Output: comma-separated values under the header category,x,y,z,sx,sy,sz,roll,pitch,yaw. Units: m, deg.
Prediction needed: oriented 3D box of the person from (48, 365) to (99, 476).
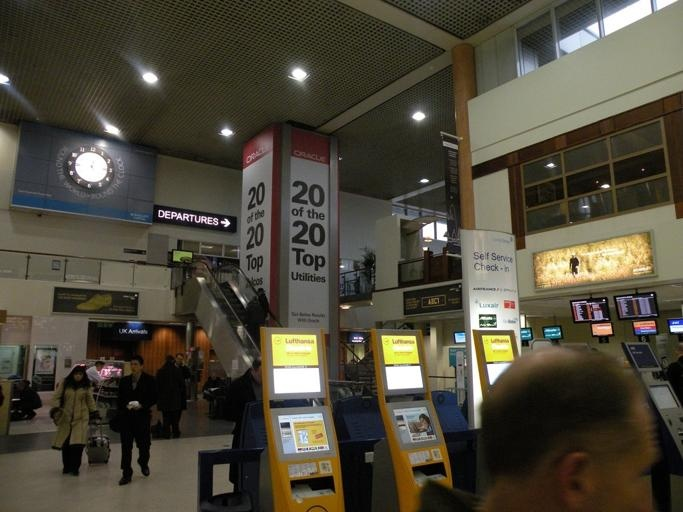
category,x,y,z,sx,sy,sz,roll,pitch,yaw
person,-3.756,2.256,6.890,0.545,1.446,0.494,2,-13,-14

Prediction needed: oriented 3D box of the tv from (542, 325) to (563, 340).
category,x,y,z,sx,sy,sz,roll,pitch,yaw
tv,5.485,1.969,12.785,0.435,0.439,1.300,-6,-13,21

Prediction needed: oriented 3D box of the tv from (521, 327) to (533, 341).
category,x,y,z,sx,sy,sz,roll,pitch,yaw
tv,4.824,1.983,12.794,0.257,0.390,1.726,-6,-13,18

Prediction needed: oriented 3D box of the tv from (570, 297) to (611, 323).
category,x,y,z,sx,sy,sz,roll,pitch,yaw
tv,4.881,1.051,9.682,0.663,0.493,0.357,-10,-15,33

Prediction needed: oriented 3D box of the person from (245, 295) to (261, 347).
category,x,y,z,sx,sy,sz,roll,pitch,yaw
person,-2.088,1.443,11.699,0.324,1.099,0.869,2,-13,-15

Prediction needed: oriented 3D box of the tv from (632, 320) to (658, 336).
category,x,y,z,sx,sy,sz,roll,pitch,yaw
tv,6.744,1.588,10.929,0.421,0.330,0.512,-8,-14,28

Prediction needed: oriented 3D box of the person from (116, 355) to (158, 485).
category,x,y,z,sx,sy,sz,roll,pitch,yaw
person,-2.804,2.148,6.686,0.479,1.578,0.814,4,-14,-24

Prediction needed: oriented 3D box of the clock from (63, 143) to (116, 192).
category,x,y,z,sx,sy,sz,roll,pitch,yaw
clock,-8.139,-2.777,15.720,1.237,1.494,0.184,19,-32,-25

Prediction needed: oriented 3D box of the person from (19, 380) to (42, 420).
category,x,y,z,sx,sy,sz,roll,pitch,yaw
person,-7.514,3.437,11.836,0.448,0.927,0.447,7,-15,-33

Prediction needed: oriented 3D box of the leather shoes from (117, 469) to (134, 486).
category,x,y,z,sx,sy,sz,roll,pitch,yaw
leather shoes,-2.737,2.769,6.187,0.087,0.200,0.271,-1,-20,7
